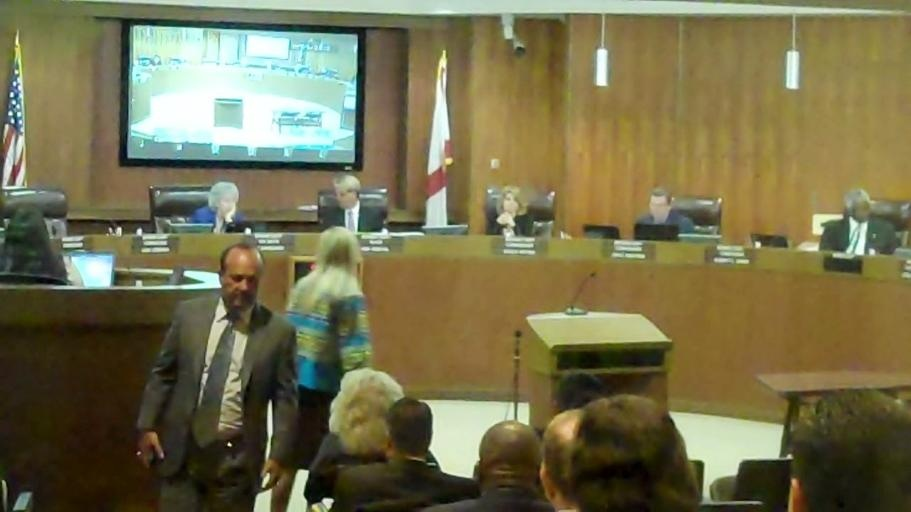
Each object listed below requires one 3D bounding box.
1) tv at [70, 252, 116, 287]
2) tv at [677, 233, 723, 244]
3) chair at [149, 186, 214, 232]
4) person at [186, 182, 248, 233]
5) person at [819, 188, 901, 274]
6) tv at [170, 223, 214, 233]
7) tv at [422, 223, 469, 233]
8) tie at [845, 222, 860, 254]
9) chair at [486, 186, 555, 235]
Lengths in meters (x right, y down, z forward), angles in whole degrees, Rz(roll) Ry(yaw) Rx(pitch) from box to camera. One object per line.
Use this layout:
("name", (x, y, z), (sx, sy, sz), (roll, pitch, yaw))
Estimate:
("tv", (-2.657, 0.100, 7.121), (0.321, 0.282, 0.188), (0, 2, -4))
("tv", (2.270, -0.168, 9.067), (0.373, 0.073, 0.514), (1, 5, 12))
("chair", (-2.693, -0.436, 9.690), (0.688, 0.574, 0.485), (-1, -5, -17))
("person", (-2.281, -0.487, 9.519), (0.448, 0.470, 0.810), (-3, 6, -31))
("person", (3.695, -0.260, 8.949), (0.666, 0.688, 1.571), (2, 5, 24))
("tv", (-2.452, -0.258, 9.047), (0.356, 0.069, 0.172), (-2, 5, -20))
("tv", (-0.101, -0.249, 9.232), (0.413, 0.081, 0.182), (0, 5, -5))
("tie", (3.697, -0.187, 9.095), (0.094, 0.289, 0.150), (5, 7, 38))
("chair", (0.801, -0.492, 10.129), (0.898, 0.557, 0.484), (2, 7, 38))
